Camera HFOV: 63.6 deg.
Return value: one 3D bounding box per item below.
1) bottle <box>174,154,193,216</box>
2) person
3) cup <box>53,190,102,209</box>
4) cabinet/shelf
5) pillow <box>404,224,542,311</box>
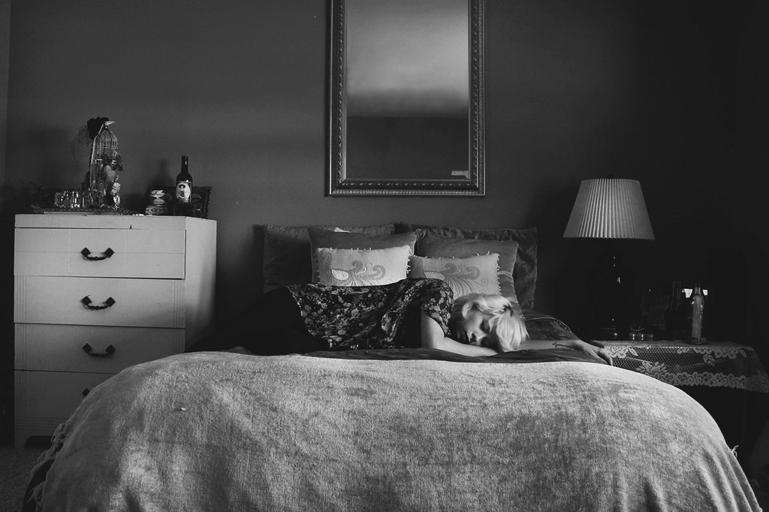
[{"bbox_3d":[-1.466,-0.518,4.524,0.124,0.451,0.159,1,-1,-21],"label":"bottle"},{"bbox_3d":[0.092,0.362,3.380,1.866,0.486,0.467,0,14,-1],"label":"person"},{"bbox_3d":[-2.151,-0.389,4.349,0.194,0.089,0.255,1,0,-34],"label":"cup"},{"bbox_3d":[-1.865,0.511,4.568,1.240,1.618,0.896,0,1,4],"label":"cabinet/shelf"},{"bbox_3d":[0.846,0.158,4.520,0.703,0.691,0.210,3,-12,-7],"label":"pillow"}]
